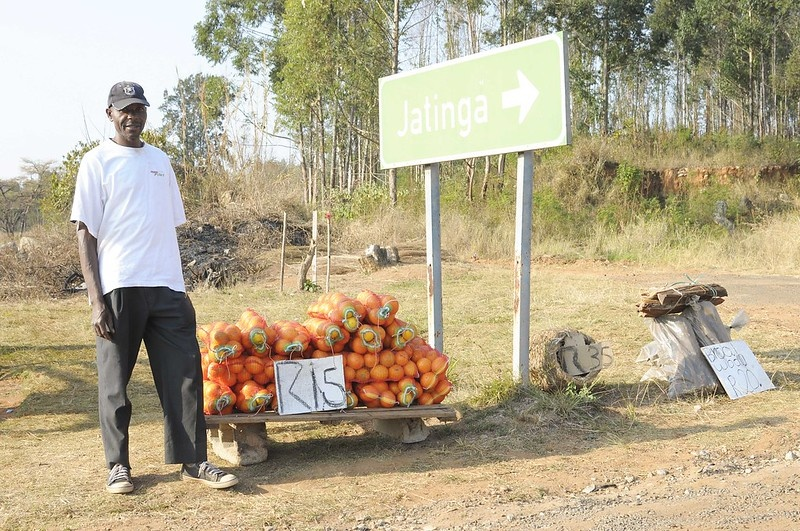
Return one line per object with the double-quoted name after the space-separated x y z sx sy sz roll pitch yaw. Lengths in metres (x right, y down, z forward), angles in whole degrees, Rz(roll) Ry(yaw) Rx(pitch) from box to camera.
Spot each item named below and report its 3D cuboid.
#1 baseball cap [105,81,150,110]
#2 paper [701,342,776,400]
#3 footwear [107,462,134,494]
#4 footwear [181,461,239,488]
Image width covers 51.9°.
-2.709 -1.699 8.174 0.364 0.261 0.166 1 14 11 "baseball cap"
4.049 1.227 9.936 0.035 0.732 0.807 -29 -10 -24 "paper"
-2.751 2.092 8.080 0.247 0.260 0.171 -6 15 -18 "footwear"
-1.906 2.080 8.262 0.546 0.210 0.224 4 4 21 "footwear"
